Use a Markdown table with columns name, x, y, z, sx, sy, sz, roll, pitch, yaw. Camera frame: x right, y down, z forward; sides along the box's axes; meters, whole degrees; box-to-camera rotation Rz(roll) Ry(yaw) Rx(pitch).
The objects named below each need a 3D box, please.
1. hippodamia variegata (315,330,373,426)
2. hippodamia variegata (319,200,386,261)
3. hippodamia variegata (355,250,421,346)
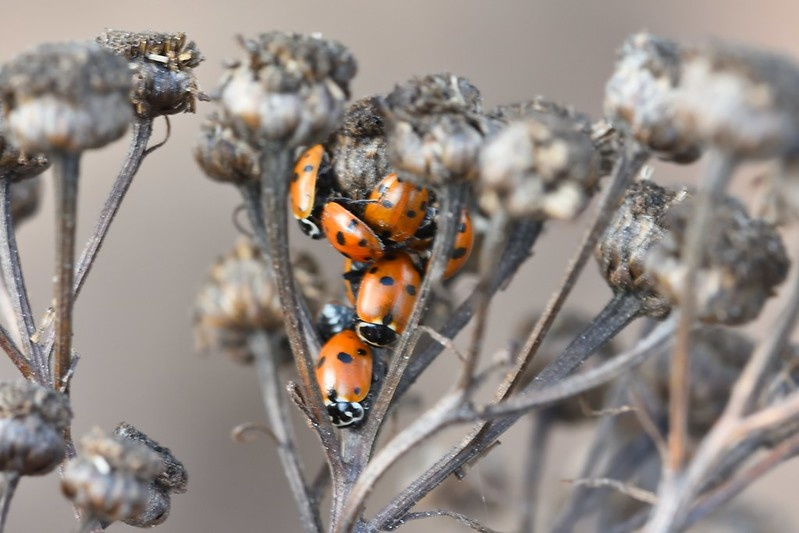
| name | x | y | z | sx | sy | sz | roll | pitch | yaw |
| --- | --- | --- | --- | --- | --- | --- | --- | --- | --- |
| hippodamia variegata | -0.064 | 0.135 | 1.469 | 0.065 | 0.104 | 0.039 | -8 | -22 | 29 |
| hippodamia variegata | -0.049 | -0.052 | 1.498 | 0.081 | 0.027 | 0.054 | 46 | -46 | 0 |
| hippodamia variegata | -0.015 | 0.037 | 1.467 | 0.081 | 0.032 | 0.103 | 21 | -89 | 11 |
